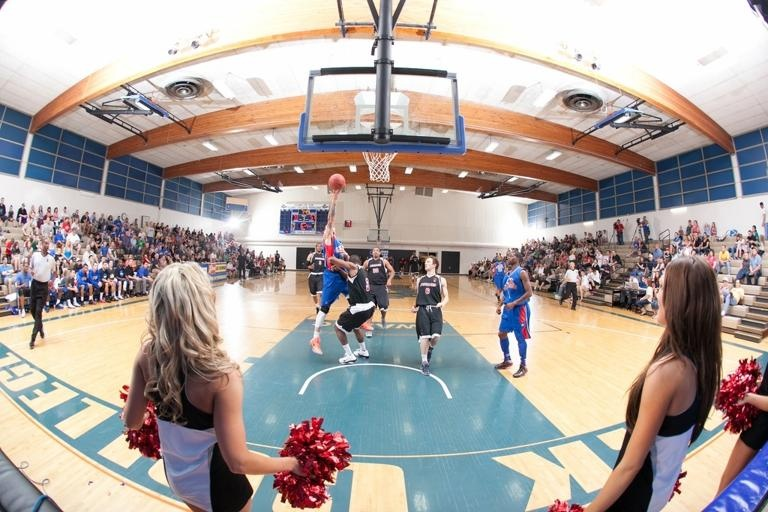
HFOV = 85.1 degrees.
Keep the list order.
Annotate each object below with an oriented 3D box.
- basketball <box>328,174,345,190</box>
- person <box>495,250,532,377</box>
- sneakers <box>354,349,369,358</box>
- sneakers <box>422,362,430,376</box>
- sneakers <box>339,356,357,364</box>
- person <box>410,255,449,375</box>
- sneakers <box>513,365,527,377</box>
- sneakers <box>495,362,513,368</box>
[{"bbox_3d":[-0.805,-1.236,7.125,0.279,0.270,0.206,1,0,39],"label":"basketball"},{"bbox_3d":[2.482,1.100,8.049,0.607,2.346,0.725,2,0,17],"label":"person"},{"bbox_3d":[-0.463,1.944,8.420,0.306,0.142,0.124,7,0,26],"label":"sneakers"},{"bbox_3d":[0.757,2.084,7.737,0.136,0.166,0.392,0,-16,-2],"label":"sneakers"},{"bbox_3d":[-0.706,1.996,8.043,0.310,0.143,0.125,1,-6,-9],"label":"sneakers"},{"bbox_3d":[0.887,1.091,8.188,0.594,2.125,1.010,1,0,4],"label":"person"},{"bbox_3d":[2.524,2.132,7.815,0.184,0.221,0.355,1,-1,35],"label":"sneakers"},{"bbox_3d":[2.289,2.100,8.087,0.359,0.142,0.120,1,1,-1],"label":"sneakers"}]
